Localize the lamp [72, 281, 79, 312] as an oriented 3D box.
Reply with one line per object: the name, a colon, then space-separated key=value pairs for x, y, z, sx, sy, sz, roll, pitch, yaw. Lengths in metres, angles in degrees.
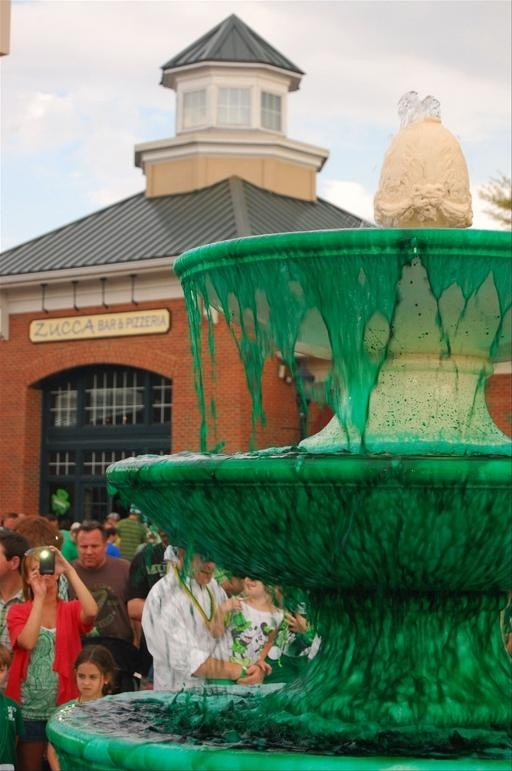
lamp: x=-2.997 y=-1.453 z=23.490 sx=0.089 sy=0.449 sz=0.258 roll=-2 pitch=-3 yaw=-9

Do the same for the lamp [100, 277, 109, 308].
lamp: x=-2.463 y=-1.476 z=22.967 sx=0.109 sy=0.440 sz=0.367 roll=-2 pitch=-3 yaw=-8

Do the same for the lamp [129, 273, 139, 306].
lamp: x=-1.937 y=-1.487 z=22.518 sx=0.128 sy=0.427 sz=0.315 roll=-2 pitch=-3 yaw=-6

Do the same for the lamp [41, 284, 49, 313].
lamp: x=-3.581 y=-1.443 z=23.955 sx=0.094 sy=0.434 sz=0.293 roll=-2 pitch=-3 yaw=-12
